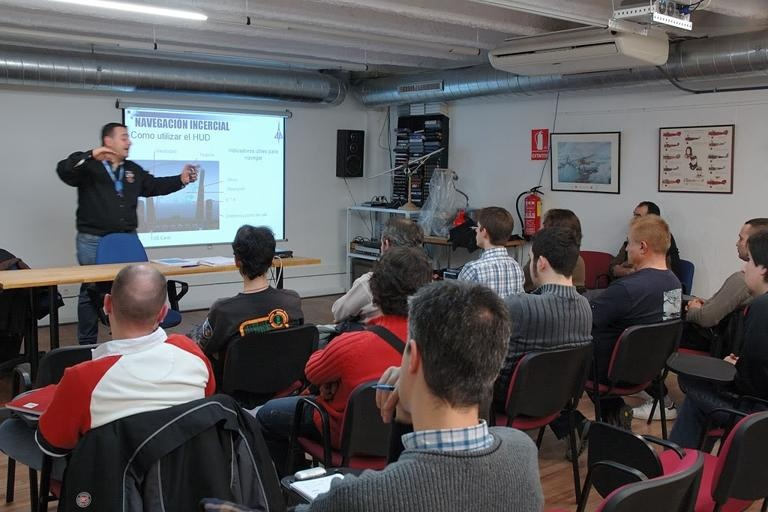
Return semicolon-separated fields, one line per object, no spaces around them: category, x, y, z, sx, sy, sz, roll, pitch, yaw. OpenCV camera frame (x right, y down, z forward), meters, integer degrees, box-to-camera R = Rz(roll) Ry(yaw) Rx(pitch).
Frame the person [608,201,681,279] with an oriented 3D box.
person;2.927;-0.255;6.168;0.636;0.765;0.419;19;-23;-30

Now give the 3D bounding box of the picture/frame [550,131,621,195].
picture/frame;2.539;-1.186;6.991;0.031;0.749;0.857;-5;5;-43

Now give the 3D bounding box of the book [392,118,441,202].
book;0.476;-1.474;8.538;0.873;1.360;0.563;3;11;28

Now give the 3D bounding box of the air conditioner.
air conditioner;1.841;-1.987;5.417;1.493;0.347;0.614;6;13;40

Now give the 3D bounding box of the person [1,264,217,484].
person;-1.188;0.503;2.396;0.850;0.876;0.543;-5;10;-15

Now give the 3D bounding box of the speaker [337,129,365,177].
speaker;-0.553;-1.621;8.798;0.453;0.744;0.237;-3;10;-5
